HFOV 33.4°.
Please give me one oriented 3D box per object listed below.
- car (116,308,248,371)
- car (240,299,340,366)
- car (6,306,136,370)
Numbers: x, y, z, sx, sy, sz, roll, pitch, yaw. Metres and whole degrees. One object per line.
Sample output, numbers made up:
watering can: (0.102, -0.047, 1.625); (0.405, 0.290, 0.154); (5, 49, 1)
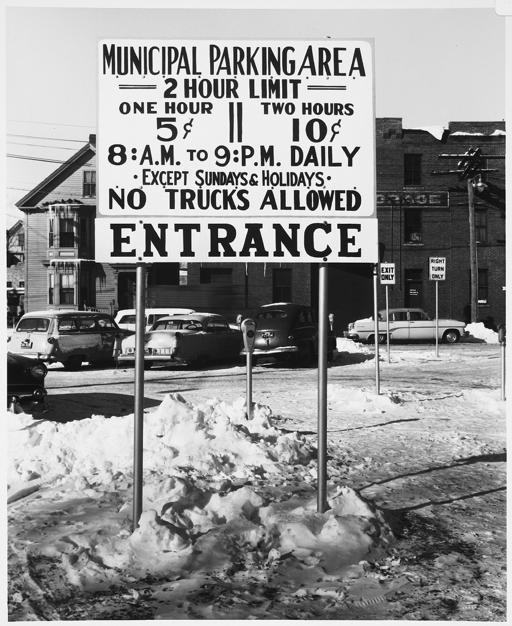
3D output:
car: (-1.434, 0.612, 19.336); (1.194, 1.098, 3.126); (-2, -3, 19)
car: (0.700, 0.529, 20.128); (1.350, 1.390, 2.502); (1, -5, 12)
car: (-4.132, 0.552, 18.895); (1.265, 1.128, 2.388); (3, 5, 35)
